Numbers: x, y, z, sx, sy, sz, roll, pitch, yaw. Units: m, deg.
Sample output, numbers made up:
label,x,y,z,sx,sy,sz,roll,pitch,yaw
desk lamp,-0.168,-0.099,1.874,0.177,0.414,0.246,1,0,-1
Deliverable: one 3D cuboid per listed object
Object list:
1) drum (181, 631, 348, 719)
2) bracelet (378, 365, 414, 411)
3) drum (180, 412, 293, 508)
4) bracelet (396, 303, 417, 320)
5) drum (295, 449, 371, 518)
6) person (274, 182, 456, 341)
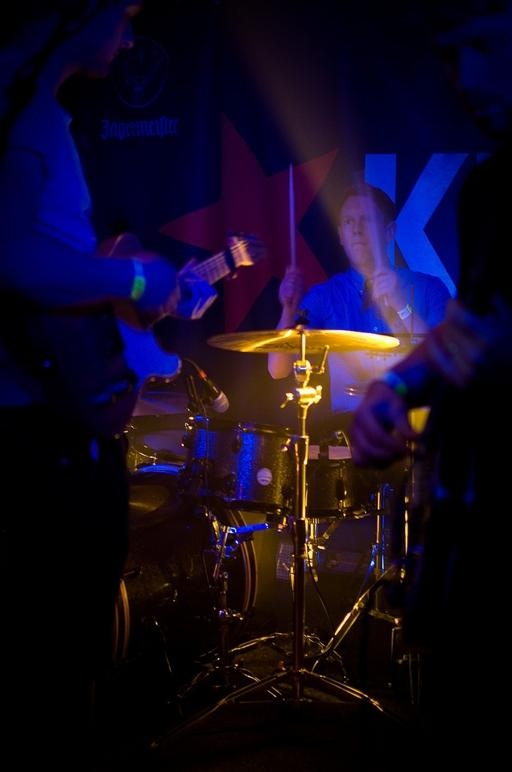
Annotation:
label,x,y,z,sx,sy,sz,roll,pitch,yaw
drum,-0.052,1.121,2.940,0.344,0.085,0.251,-11,3,-32
bracelet,0.232,0.006,1.236,0.014,0.056,0.059,-43,1,-5
drum,-0.060,0.302,2.902,0.355,0.228,0.373,4,-13,1
bracelet,0.690,-0.332,3.449,0.088,0.040,0.111,-5,-6,-9
drum,0.330,0.392,3.009,0.313,0.196,0.305,0,-3,0
person,0.593,-0.640,3.801,1.067,0.865,0.722,-4,-6,22
